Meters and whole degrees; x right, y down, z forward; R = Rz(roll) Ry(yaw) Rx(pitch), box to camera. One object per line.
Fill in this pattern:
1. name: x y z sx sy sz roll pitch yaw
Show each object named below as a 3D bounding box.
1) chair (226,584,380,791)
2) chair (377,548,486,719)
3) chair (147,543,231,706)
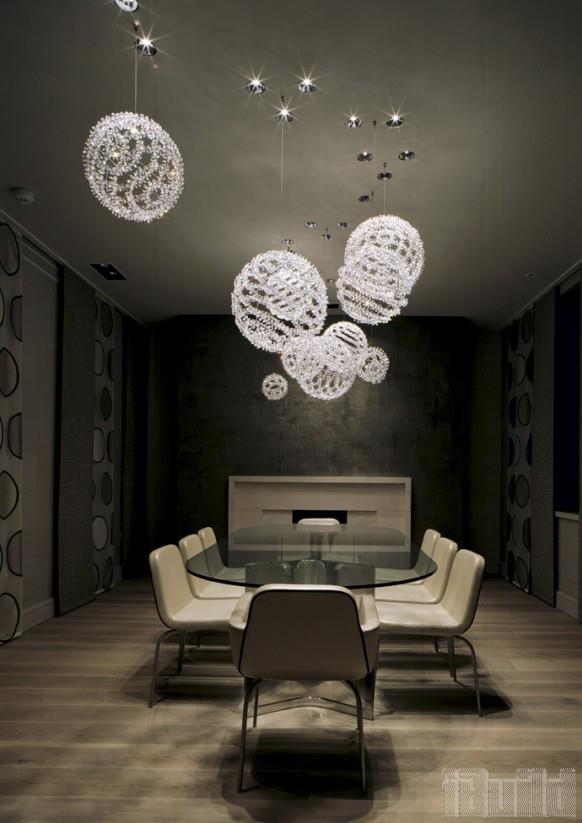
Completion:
1. chair: 0.047 0.949 2.626 0.530 0.947 0.591 0 14 -1
2. chair: 0.623 0.991 3.307 0.523 0.686 0.535 3 -2 -7
3. chair: -0.452 0.990 3.301 0.388 0.665 0.433 0 2 21
